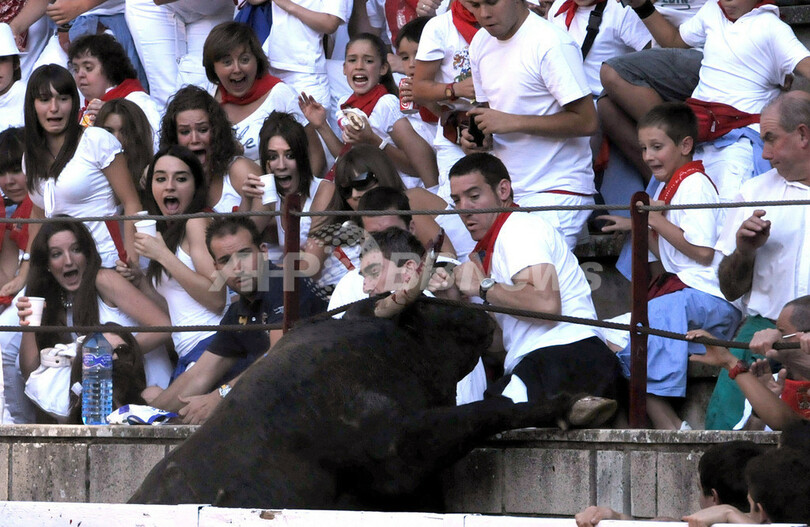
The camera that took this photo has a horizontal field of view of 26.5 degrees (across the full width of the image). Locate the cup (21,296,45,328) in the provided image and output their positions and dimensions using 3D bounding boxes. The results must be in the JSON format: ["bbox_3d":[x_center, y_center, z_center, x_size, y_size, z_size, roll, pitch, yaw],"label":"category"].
[{"bbox_3d":[-2.451,0.321,11.477,0.181,0.217,0.168,0,-14,0],"label":"cup"}]

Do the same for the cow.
[{"bbox_3d":[-0.225,0.663,9.716,2.232,1.421,0.720,1,4,-23],"label":"cow"}]

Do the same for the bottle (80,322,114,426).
[{"bbox_3d":[-2.002,0.745,11.185,0.222,0.567,0.180,3,3,13],"label":"bottle"}]

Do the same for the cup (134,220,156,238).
[{"bbox_3d":[-1.727,-0.238,11.501,0.147,0.099,0.141,-12,9,2],"label":"cup"}]
